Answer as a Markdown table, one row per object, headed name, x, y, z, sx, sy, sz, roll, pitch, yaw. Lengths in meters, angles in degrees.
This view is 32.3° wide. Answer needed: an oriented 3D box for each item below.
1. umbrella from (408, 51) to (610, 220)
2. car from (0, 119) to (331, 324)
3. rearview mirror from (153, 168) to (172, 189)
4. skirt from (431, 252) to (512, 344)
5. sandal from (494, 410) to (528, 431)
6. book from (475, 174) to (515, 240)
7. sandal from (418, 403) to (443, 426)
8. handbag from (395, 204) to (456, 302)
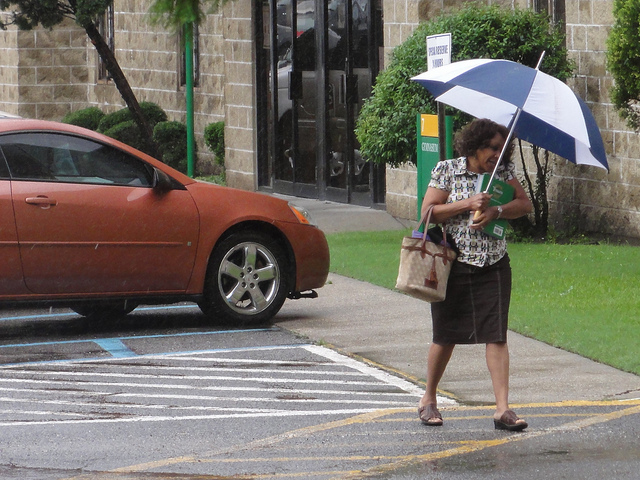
| name | x | y | z | sx | sy | sz | roll | pitch | yaw |
| --- | --- | --- | --- | --- | --- | --- | --- | --- | --- |
| umbrella | 1.405 | -0.754 | 8.110 | 1.282 | 1.327 | 1.355 | 3 | 23 | -10 |
| car | -1.421 | -0.049 | 10.287 | 2.878 | 1.055 | 1.374 | -1 | -1 | -19 |
| rearview mirror | -1.433 | -0.553 | 9.987 | 0.152 | 0.160 | 0.164 | 2 | -6 | -1 |
| skirt | 1.024 | 0.265 | 7.544 | 0.552 | 0.844 | 0.378 | -4 | 29 | 4 |
| sandal | 1.268 | 1.204 | 7.370 | 0.230 | 0.114 | 0.099 | -2 | 2 | 42 |
| book | 1.201 | -0.222 | 7.498 | 0.286 | 0.440 | 0.191 | -2 | 9 | -3 |
| sandal | 0.754 | 1.188 | 7.534 | 0.159 | 0.140 | 0.107 | 0 | 9 | 7 |
| handbag | 0.757 | 0.064 | 7.479 | 0.384 | 0.694 | 0.181 | 15 | -15 | -16 |
